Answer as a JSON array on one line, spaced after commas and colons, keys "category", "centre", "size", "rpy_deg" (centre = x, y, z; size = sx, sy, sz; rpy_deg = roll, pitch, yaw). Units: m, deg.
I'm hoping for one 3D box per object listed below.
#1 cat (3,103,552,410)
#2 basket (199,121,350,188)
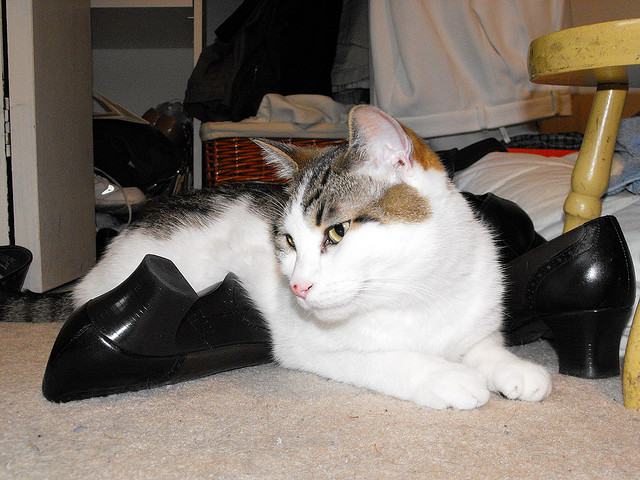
[{"category": "cat", "centre": [-0.104, 0.022, 1.438], "size": [1.206, 0.501, 0.643], "rpy_deg": [10, 24, 26]}, {"category": "basket", "centre": [-0.189, -0.274, 2.311], "size": [0.485, 0.190, 0.320], "rpy_deg": [-1, 0, -21]}]
